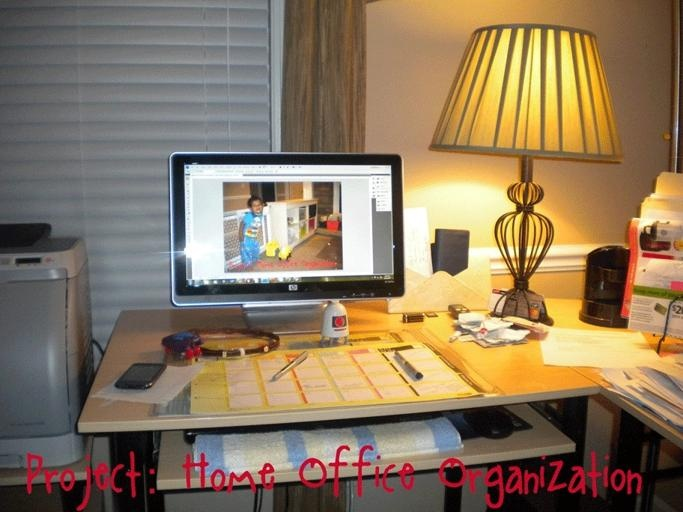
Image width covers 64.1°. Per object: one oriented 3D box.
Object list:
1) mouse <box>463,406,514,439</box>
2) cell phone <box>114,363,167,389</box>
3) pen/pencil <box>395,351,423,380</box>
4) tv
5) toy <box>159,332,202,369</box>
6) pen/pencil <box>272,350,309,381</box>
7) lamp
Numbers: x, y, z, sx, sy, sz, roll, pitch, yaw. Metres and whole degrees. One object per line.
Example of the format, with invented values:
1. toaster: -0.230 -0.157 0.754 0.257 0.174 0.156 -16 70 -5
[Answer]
1. mouse: 0.409 0.441 1.473 0.145 0.046 0.109 -2 9 -7
2. cell phone: -0.523 0.305 1.421 0.096 0.037 0.112 -1 9 2
3. pen/pencil: 0.186 0.291 1.479 0.026 0.024 0.151 -3 9 -10
4. tv: -0.170 -0.060 1.673 0.664 0.413 0.175 -1 2 -5
5. toy: -0.450 0.254 1.532 0.083 0.034 0.098 -1 22 -4
6. pen/pencil: -0.128 0.283 1.493 0.030 0.023 0.172 -20 6 38
7. lamp: 0.569 -0.263 1.828 0.559 0.942 0.451 -2 9 -5
